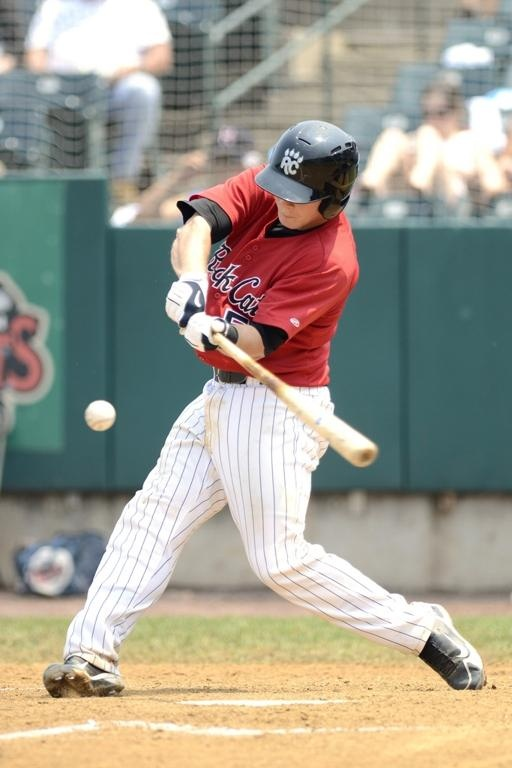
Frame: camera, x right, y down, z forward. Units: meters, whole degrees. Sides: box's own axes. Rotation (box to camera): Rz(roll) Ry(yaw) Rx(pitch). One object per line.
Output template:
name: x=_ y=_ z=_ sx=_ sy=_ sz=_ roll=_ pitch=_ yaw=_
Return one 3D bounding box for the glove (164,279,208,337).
glove: x=-0.158 y=-0.192 z=2.698 sx=0.059 sy=0.122 sz=0.096 roll=24 pitch=-31 yaw=-38

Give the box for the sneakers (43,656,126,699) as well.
sneakers: x=-0.449 y=0.752 z=2.878 sx=0.096 sy=0.083 sz=0.213 roll=-51 pitch=-34 yaw=18

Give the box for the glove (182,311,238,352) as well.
glove: x=-0.114 y=-0.111 z=2.649 sx=0.087 sy=0.109 sz=0.051 roll=-48 pitch=-5 yaw=-32
